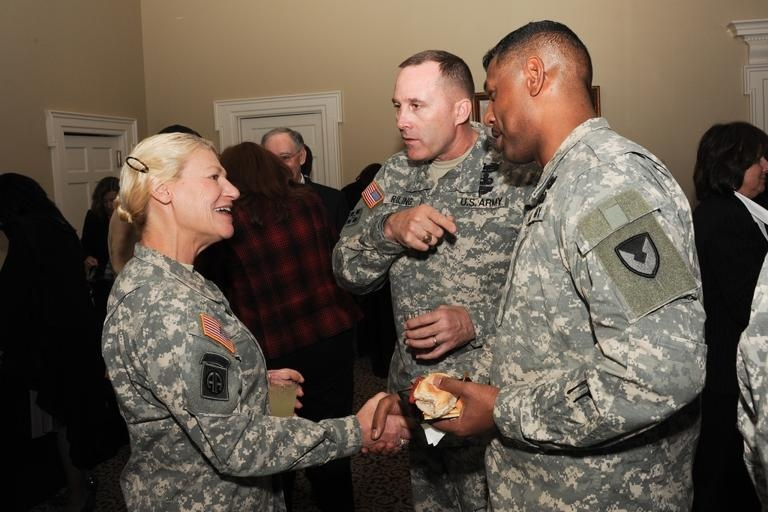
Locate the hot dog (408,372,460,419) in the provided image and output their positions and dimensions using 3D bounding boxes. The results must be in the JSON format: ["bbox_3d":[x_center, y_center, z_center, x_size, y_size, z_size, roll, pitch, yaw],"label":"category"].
[{"bbox_3d":[0.146,0.527,2.312,0.183,0.101,0.242,12,-6,6],"label":"hot dog"}]
